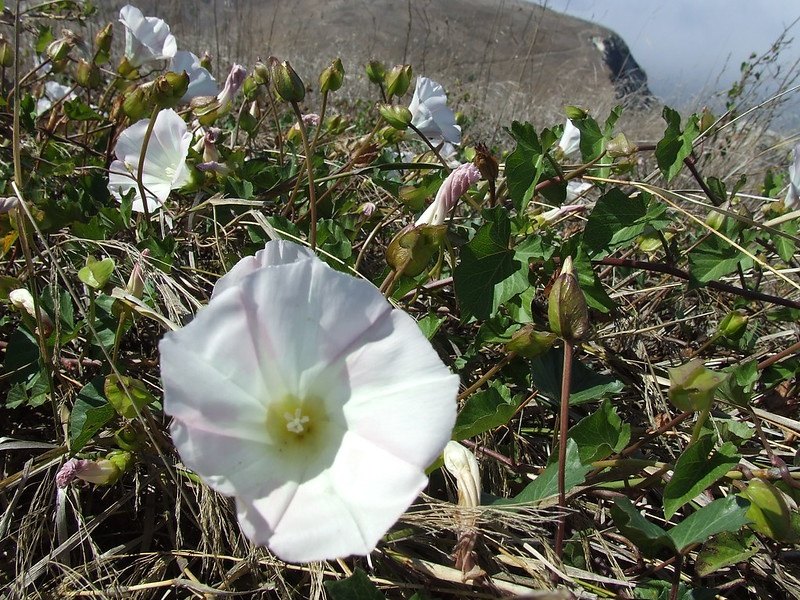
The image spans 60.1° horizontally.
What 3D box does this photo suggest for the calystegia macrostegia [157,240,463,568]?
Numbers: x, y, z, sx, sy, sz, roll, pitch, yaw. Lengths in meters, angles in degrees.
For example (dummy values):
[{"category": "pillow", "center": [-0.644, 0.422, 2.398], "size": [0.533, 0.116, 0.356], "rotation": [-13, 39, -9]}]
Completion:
[{"category": "calystegia macrostegia", "center": [-0.269, 0.352, 1.975], "size": [0.774, 0.405, 0.773], "rotation": [38, 68, -11]}]
